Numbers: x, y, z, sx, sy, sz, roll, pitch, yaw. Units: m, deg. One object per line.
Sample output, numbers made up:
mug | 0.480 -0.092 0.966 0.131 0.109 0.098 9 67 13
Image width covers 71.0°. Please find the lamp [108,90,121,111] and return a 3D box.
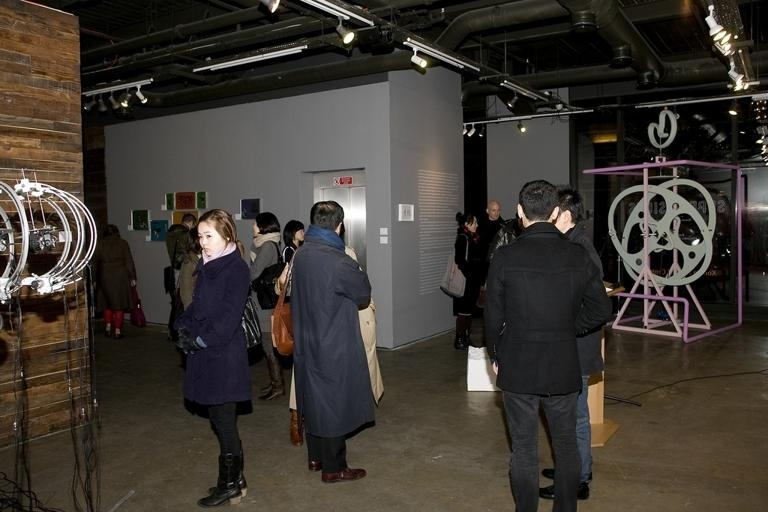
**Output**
lamp | -4.843 -2.823 9.731 0.173 0.319 0.589 -5 11 -25

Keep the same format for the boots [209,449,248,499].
boots | -1.298 1.822 4.466 0.362 0.372 0.168 -4 -5 14

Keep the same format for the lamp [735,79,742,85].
lamp | 5.345 -2.636 8.092 0.074 0.034 0.110 -6 0 -6

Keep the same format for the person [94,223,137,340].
person | -4.808 0.438 9.559 0.715 1.939 0.544 4 10 30

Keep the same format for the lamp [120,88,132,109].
lamp | -4.616 -2.837 9.626 0.202 0.337 0.485 -5 10 -24

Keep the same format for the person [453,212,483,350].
person | 1.325 0.397 8.289 0.451 2.091 0.440 -4 9 -16

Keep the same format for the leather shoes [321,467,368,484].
leather shoes | -0.343 1.902 4.740 0.386 0.167 0.139 -4 2 -20

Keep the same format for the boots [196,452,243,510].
boots | -1.252 1.828 4.445 0.491 0.484 0.276 2 0 -10

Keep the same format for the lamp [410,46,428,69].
lamp | 0.517 -2.793 7.533 0.174 0.297 0.707 0 10 9

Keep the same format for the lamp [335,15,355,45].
lamp | -0.480 -2.872 6.837 0.238 0.334 0.422 -2 10 -3

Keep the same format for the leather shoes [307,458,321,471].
leather shoes | -0.609 1.881 4.848 0.066 0.069 0.138 2 3 10

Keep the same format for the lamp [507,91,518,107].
lamp | 2.366 -2.880 9.912 0.162 0.258 0.356 1 10 13

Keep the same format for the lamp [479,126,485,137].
lamp | 2.053 -2.598 11.117 0.159 0.101 0.555 0 6 5
